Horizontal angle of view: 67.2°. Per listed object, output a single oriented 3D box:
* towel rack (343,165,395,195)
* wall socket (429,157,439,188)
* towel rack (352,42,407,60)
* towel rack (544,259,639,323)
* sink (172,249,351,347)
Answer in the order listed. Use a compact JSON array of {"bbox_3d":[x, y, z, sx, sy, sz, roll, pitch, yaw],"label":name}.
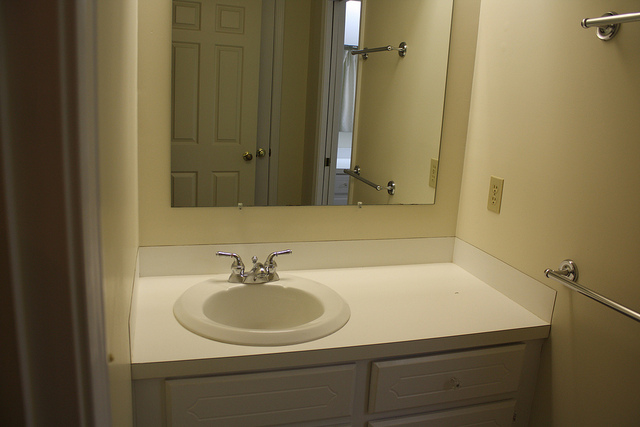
[{"bbox_3d":[0.211,-0.153,2.105,0.188,0.102,0.106,23,2,-17],"label":"towel rack"},{"bbox_3d":[0.503,-0.182,2.135,0.037,0.127,0.011,-4,11,-23],"label":"wall socket"},{"bbox_3d":[0.240,-0.666,2.036,0.246,0.091,0.091,-6,9,-14],"label":"towel rack"},{"bbox_3d":[0.854,0.237,1.548,0.079,0.088,0.325,-6,11,-12],"label":"towel rack"},{"bbox_3d":[-0.205,0.305,1.710,0.606,0.289,0.468,-3,10,-18],"label":"sink"}]
